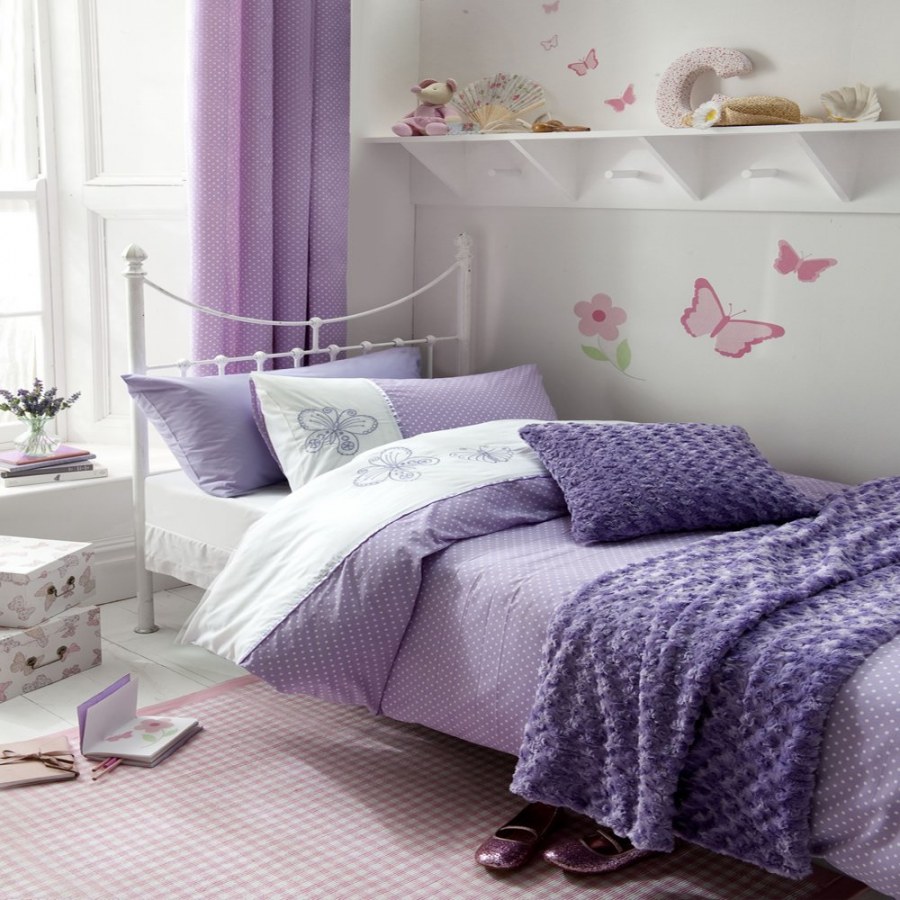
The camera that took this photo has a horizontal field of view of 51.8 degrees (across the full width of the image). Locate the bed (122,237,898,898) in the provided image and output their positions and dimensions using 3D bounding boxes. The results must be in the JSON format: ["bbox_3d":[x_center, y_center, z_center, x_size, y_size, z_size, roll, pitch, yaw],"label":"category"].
[{"bbox_3d":[0.166,0.035,1.804,1.704,0.798,0.983,14,23,37],"label":"bed"}]

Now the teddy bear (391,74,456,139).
[{"bbox_3d":[-0.049,-1.021,2.735,0.204,0.153,0.134,14,27,37],"label":"teddy bear"}]

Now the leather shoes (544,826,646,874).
[{"bbox_3d":[0.220,0.604,1.398,0.147,0.029,0.064,2,8,-37],"label":"leather shoes"}]

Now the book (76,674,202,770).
[{"bbox_3d":[-0.583,0.512,1.763,0.158,0.088,0.178,5,9,9],"label":"book"}]

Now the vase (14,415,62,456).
[{"bbox_3d":[-1.102,-0.042,2.550,0.162,0.110,0.136,0,1,-7],"label":"vase"}]
